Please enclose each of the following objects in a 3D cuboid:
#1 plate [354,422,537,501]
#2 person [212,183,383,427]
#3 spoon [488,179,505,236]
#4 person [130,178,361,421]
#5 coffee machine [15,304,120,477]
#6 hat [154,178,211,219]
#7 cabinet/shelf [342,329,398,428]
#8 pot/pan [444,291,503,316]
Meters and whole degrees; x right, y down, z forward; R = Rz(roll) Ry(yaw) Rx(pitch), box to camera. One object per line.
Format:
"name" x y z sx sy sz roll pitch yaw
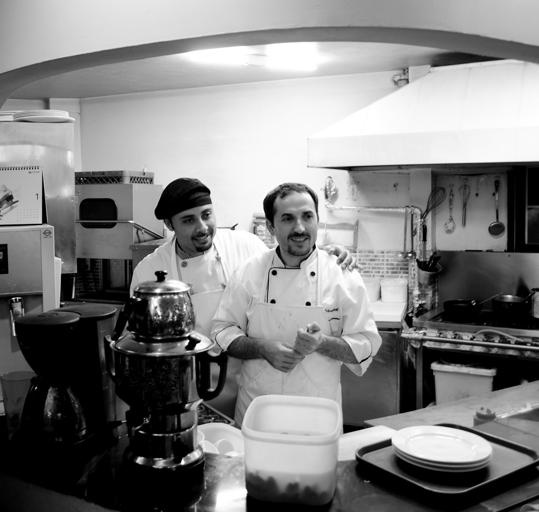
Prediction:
"plate" 0.421 0.480 1.222 0.374 0.056 0.297 -1 2 -34
"person" 0.091 0.205 1.990 0.466 0.956 0.553 -1 2 -43
"spoon" 1.804 -0.376 4.066 0.119 0.462 0.041 1 2 26
"person" -0.145 0.259 2.230 0.818 1.130 0.659 -3 21 -10
"coffee machine" -0.539 0.349 1.375 0.223 0.407 0.371 -1 -2 13
"hat" -0.356 -0.249 2.100 0.239 0.142 0.235 -15 5 23
"cabinet/shelf" 0.725 0.871 3.736 0.464 0.588 0.485 3 -1 -32
"pot/pan" 1.370 0.344 3.480 0.352 0.149 0.224 -8 2 19
